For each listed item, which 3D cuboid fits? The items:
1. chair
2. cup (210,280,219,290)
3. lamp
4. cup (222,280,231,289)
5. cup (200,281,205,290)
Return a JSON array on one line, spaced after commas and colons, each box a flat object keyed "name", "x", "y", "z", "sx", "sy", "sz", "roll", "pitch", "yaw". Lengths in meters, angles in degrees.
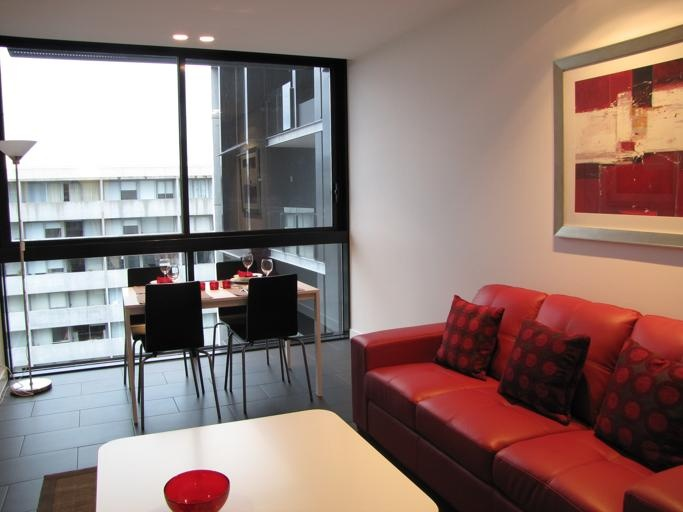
[{"name": "chair", "x": -1.025, "y": 0.626, "z": 4.364, "sx": 1.513, "sy": 1.071, "sz": 1.374, "roll": -5, "pitch": 11, "yaw": -24}, {"name": "cup", "x": -1.089, "y": 0.249, "z": 4.328, "sx": 0.079, "sy": 0.081, "sz": 0.061, "roll": 1, "pitch": 7, "yaw": 3}, {"name": "lamp", "x": -2.802, "y": 0.085, "z": 4.450, "sx": 0.403, "sy": 2.135, "sz": 0.763, "roll": -7, "pitch": 12, "yaw": -32}, {"name": "cup", "x": -0.988, "y": 0.248, "z": 4.393, "sx": 0.053, "sy": 0.071, "sz": 0.096, "roll": -4, "pitch": 6, "yaw": -26}, {"name": "cup", "x": -1.157, "y": 0.250, "z": 4.226, "sx": 0.062, "sy": 0.063, "sz": 0.063, "roll": 1, "pitch": 9, "yaw": 0}]
